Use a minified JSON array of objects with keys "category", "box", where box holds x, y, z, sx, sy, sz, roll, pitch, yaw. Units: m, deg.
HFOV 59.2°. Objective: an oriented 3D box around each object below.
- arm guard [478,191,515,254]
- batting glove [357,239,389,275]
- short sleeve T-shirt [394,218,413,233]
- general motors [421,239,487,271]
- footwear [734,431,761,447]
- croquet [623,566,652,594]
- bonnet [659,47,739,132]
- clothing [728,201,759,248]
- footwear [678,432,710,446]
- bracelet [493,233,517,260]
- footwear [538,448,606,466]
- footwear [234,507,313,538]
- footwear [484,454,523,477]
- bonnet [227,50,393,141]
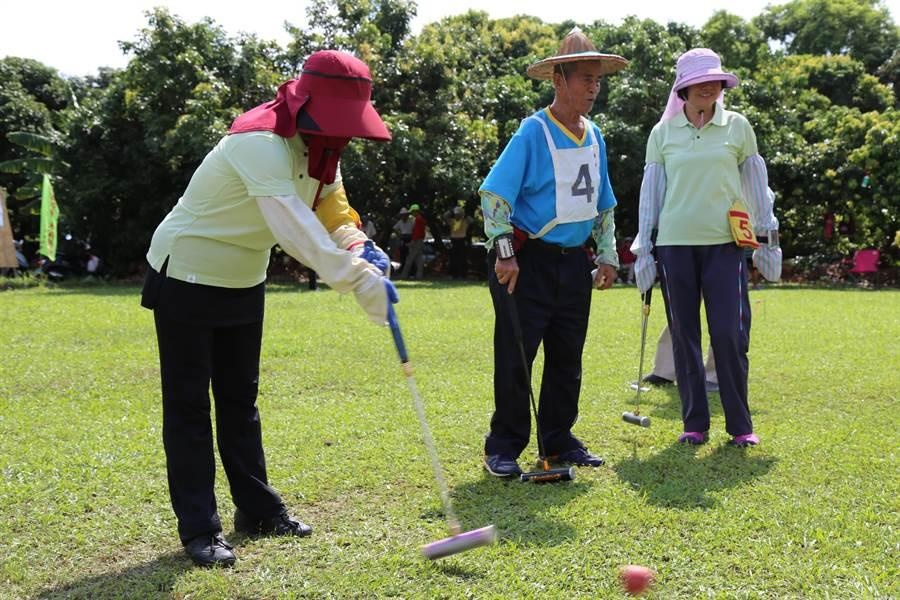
[{"category":"arm guard","box":[0.421,-0.613,6.266,0.226,0.402,0.261,2,-8,-38]},{"category":"batting glove","box":[-0.514,-0.262,5.420,0.074,0.229,0.232,-40,22,36]},{"category":"short sleeve T-shirt","box":[-1.149,-1.880,20.348,0.448,0.344,0.145,12,21,35]},{"category":"general motors","box":[0.019,-1.275,23.804,1.368,0.612,1.770,2,9,3]},{"category":"footwear","box":[2.506,1.174,6.658,0.190,0.078,0.101,-3,-6,1]},{"category":"croquet","box":[1.214,1.799,5.104,0.212,0.132,0.133,1,6,11]},{"category":"bonnet","box":[2.124,-1.835,6.743,0.593,0.575,0.307,1,6,14]},{"category":"clothing","box":[2.452,-0.624,6.734,0.264,0.380,0.100,-5,-11,-25]},{"category":"footwear","box":[2.102,1.191,6.806,0.259,0.099,0.108,4,-9,18]},{"category":"bracelet","box":[0.436,-0.409,6.137,0.173,0.232,0.187,-8,-2,22]},{"category":"footwear","box":[1.007,1.269,6.561,0.554,0.229,0.188,-4,-9,19]},{"category":"footwear","box":[-1.235,1.561,5.660,0.563,0.228,0.205,1,-4,3]},{"category":"footwear","box":[0.432,1.306,6.247,0.131,0.126,0.298,4,-6,-37]},{"category":"bonnet","box":[-0.934,-1.406,5.455,1.127,0.571,1.105,17,21,38]}]
